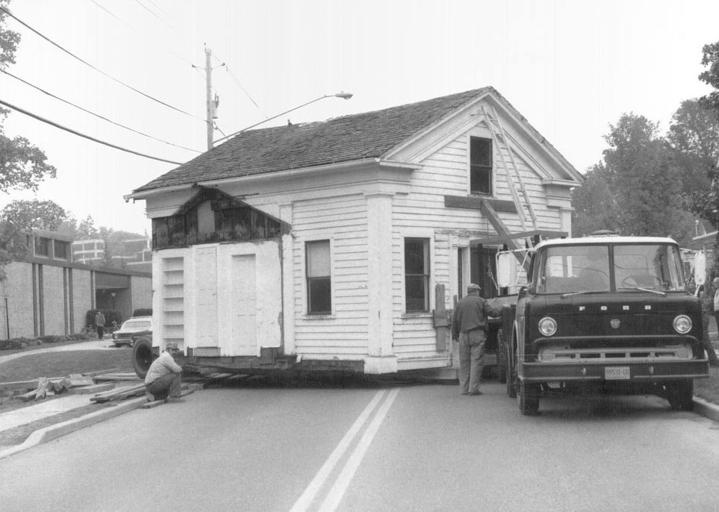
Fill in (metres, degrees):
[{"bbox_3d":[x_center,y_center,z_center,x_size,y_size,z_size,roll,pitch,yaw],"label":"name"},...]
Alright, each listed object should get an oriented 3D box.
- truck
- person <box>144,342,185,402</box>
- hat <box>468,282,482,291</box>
[{"bbox_3d":[4.606,1.344,14.261,2.255,2.326,4.360,-1,-9,4],"label":"truck"},{"bbox_3d":[-4.709,2.787,17.017,1.009,1.663,1.028,-8,13,-29],"label":"person"},{"bbox_3d":[2.752,0.751,16.841,0.312,0.176,0.483,2,-1,16],"label":"hat"}]
